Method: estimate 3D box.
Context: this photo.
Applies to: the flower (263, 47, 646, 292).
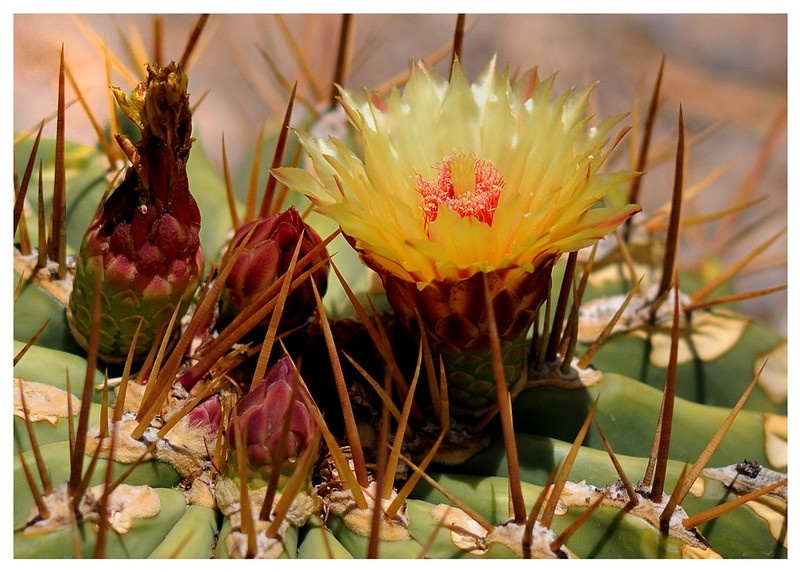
[{"bbox_3d":[0.114,-0.080,0.957,0.346,0.185,0.312,15,8,-31],"label":"flower"}]
